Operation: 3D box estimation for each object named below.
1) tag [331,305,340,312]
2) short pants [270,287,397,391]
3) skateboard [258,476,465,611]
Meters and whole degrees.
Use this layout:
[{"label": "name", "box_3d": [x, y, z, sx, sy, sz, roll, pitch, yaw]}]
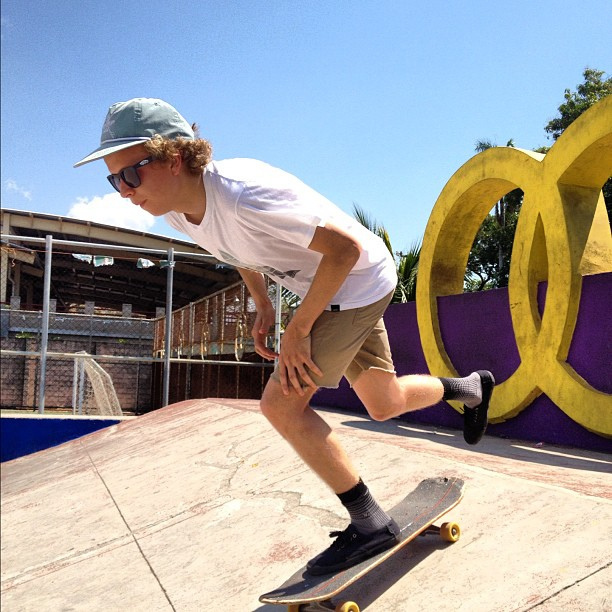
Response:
[{"label": "tag", "box_3d": [0.111, 0.006, 1.961, 0.039, 0.026, 0.021, 1, 3, 1]}, {"label": "short pants", "box_3d": [0.136, 0.181, 2.074, 0.264, 0.376, 0.677, -10, 3, 44]}, {"label": "skateboard", "box_3d": [0.313, 0.937, 1.993, 1.148, 0.200, 0.320, -14, 3, -42]}]
